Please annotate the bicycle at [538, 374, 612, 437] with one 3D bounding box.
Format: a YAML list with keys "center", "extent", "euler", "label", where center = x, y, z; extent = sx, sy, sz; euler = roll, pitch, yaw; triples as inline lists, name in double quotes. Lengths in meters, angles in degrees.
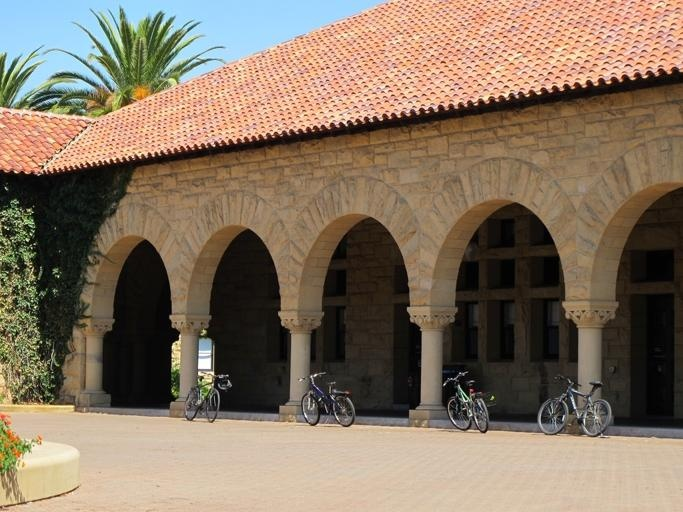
- center: [3.975, 2.573, 14.739]
  extent: [1.509, 0.918, 0.634]
  euler: [5, 3, -21]
  label: "bicycle"

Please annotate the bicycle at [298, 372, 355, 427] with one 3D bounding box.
- center: [-0.249, 2.850, 17.170]
  extent: [0.780, 0.994, 1.597]
  euler: [-5, -3, -43]
  label: "bicycle"

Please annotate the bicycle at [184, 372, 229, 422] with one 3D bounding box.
- center: [-3.024, 3.086, 18.703]
  extent: [0.475, 0.636, 1.057]
  euler: [6, -8, 17]
  label: "bicycle"
